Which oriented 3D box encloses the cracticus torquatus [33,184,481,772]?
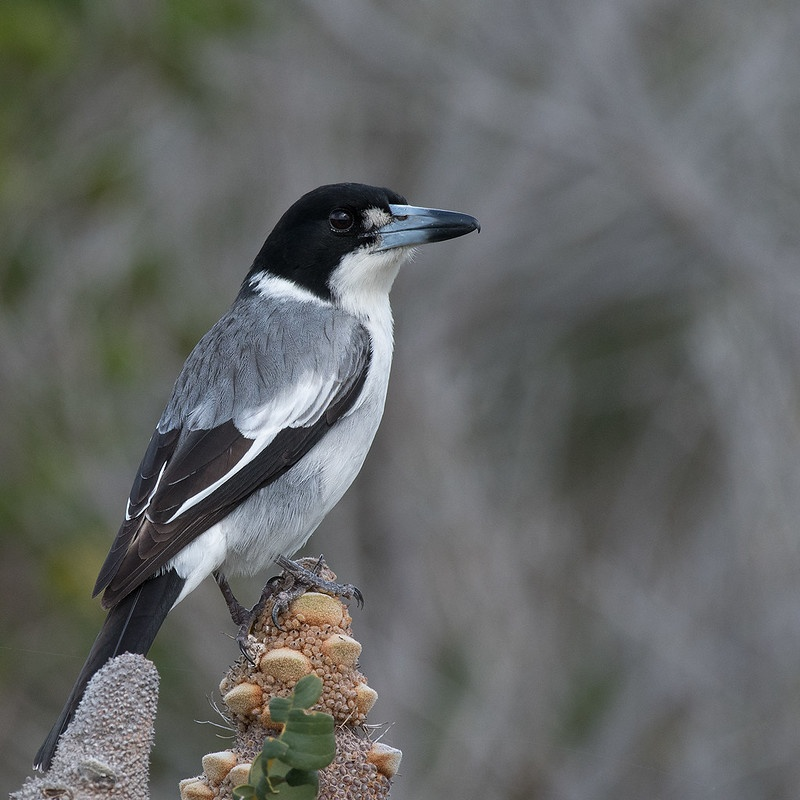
[{"bbox_3d":[-0.359,0.177,3.473,0.591,1.904,0.497,26,-27,-13],"label":"cracticus torquatus"}]
